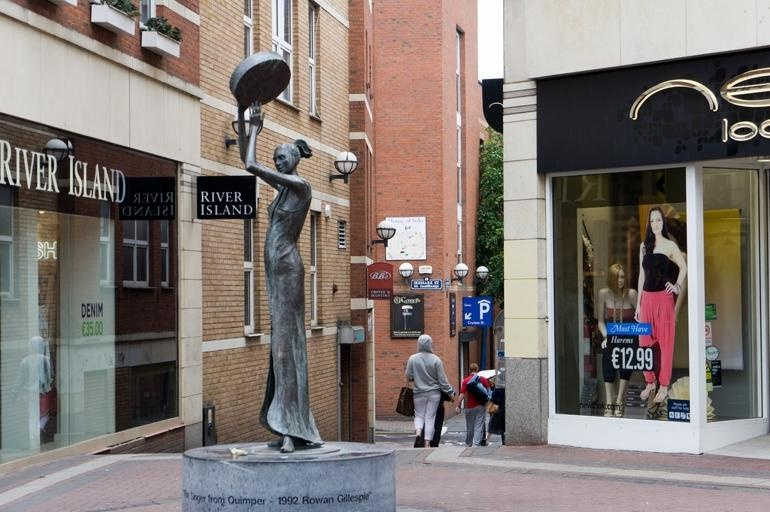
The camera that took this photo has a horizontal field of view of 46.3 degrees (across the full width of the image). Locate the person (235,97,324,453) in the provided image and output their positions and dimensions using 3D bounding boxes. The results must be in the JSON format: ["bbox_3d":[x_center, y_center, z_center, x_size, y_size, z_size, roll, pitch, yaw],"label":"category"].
[{"bbox_3d":[-1.354,0.231,11.654,0.813,4.388,1.058,-2,4,-43],"label":"person"}]

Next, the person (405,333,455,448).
[{"bbox_3d":[0.915,2.881,19.104,0.907,2.469,1.122,1,3,2],"label":"person"}]

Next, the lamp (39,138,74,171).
[{"bbox_3d":[-5.370,-1.720,14.817,0.347,0.393,0.366,2,3,-4],"label":"lamp"}]

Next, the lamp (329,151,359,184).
[{"bbox_3d":[-1.014,-2.373,23.967,0.591,0.829,0.911,5,-10,-33],"label":"lamp"}]

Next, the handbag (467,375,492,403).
[{"bbox_3d":[2.067,2.945,19.905,0.187,0.510,0.407,-22,22,36],"label":"handbag"}]

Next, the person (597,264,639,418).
[{"bbox_3d":[4.056,1.459,15.739,0.641,2.629,0.268,2,3,21],"label":"person"}]

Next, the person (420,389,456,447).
[{"bbox_3d":[1.025,3.358,19.576,0.749,1.837,0.548,-1,34,6],"label":"person"}]
